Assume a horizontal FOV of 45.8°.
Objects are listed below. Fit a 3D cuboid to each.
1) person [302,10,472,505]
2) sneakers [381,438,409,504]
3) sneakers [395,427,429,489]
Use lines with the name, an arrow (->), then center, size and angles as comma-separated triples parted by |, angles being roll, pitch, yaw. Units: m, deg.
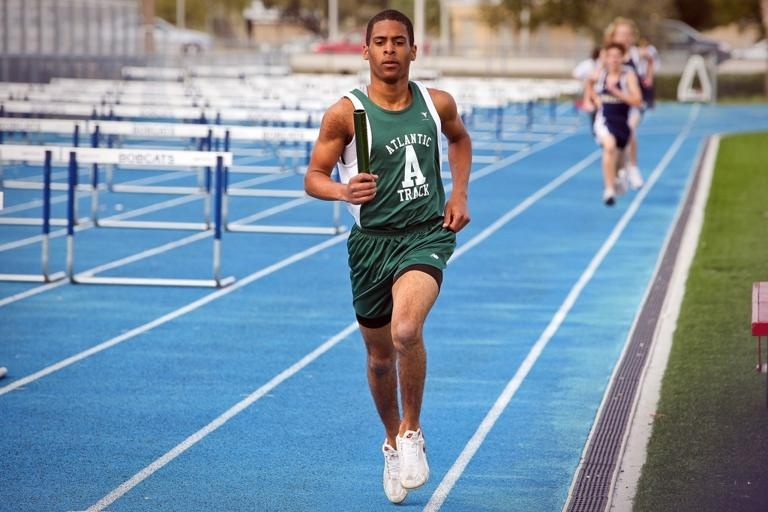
person -> 0.050, 0.008, 5.475 | 0.845, 2.886, 1.113 | 2, 14, 17
sneakers -> 0.047, 1.273, 5.446 | 0.126, 0.379, 0.163 | -10, -9, 26
sneakers -> 0.164, 1.167, 5.243 | 0.167, 0.359, 0.204 | -3, 13, -1
